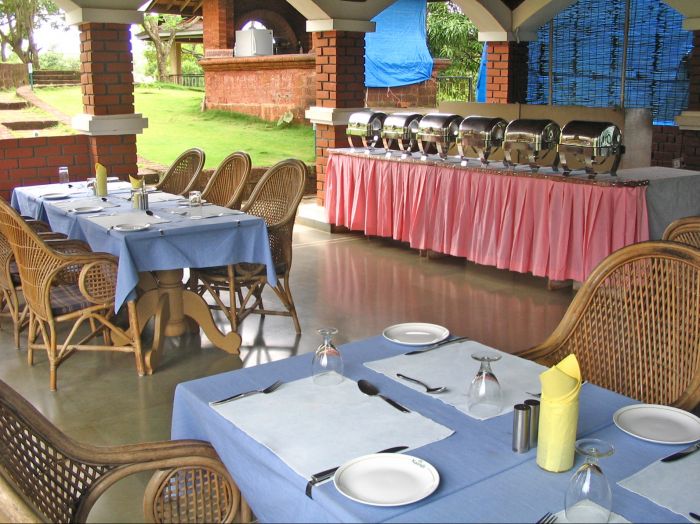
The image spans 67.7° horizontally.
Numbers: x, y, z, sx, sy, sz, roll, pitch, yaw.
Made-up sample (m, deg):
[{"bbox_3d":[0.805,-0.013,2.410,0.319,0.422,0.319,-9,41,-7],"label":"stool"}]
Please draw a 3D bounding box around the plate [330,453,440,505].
[{"bbox_3d":[0.079,0.487,1.161,0.236,0.028,0.215,0,7,16],"label":"plate"}]

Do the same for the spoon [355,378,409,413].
[{"bbox_3d":[0.082,0.402,1.578,0.052,0.024,0.212,-6,16,-25],"label":"spoon"}]

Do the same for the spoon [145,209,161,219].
[{"bbox_3d":[-1.545,-0.384,4.062,0.064,0.034,0.213,-25,33,-26],"label":"spoon"}]

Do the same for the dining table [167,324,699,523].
[{"bbox_3d":[0.255,0.248,1.145,0.581,0.168,0.780,-10,18,-36],"label":"dining table"}]

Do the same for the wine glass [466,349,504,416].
[{"bbox_3d":[0.387,0.356,1.517,0.128,0.163,0.116,0,-1,-24],"label":"wine glass"}]

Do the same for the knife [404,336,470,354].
[{"bbox_3d":[0.320,0.314,1.939,0.387,0.038,0.026,0,33,-38],"label":"knife"}]

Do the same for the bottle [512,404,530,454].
[{"bbox_3d":[0.420,0.412,1.288,0.043,0.117,0.042,-3,13,1],"label":"bottle"}]

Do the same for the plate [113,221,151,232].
[{"bbox_3d":[-1.536,-0.235,3.641,0.276,0.040,0.222,-2,10,1],"label":"plate"}]

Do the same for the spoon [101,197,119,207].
[{"bbox_3d":[-2.120,-0.521,4.576,0.059,0.046,0.299,-22,28,-37],"label":"spoon"}]

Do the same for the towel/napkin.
[{"bbox_3d":[0.487,0.369,1.224,0.087,0.225,0.113,2,14,20],"label":"towel/napkin"}]

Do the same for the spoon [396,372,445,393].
[{"bbox_3d":[0.216,0.368,1.672,0.044,0.026,0.206,-10,14,-35],"label":"spoon"}]
